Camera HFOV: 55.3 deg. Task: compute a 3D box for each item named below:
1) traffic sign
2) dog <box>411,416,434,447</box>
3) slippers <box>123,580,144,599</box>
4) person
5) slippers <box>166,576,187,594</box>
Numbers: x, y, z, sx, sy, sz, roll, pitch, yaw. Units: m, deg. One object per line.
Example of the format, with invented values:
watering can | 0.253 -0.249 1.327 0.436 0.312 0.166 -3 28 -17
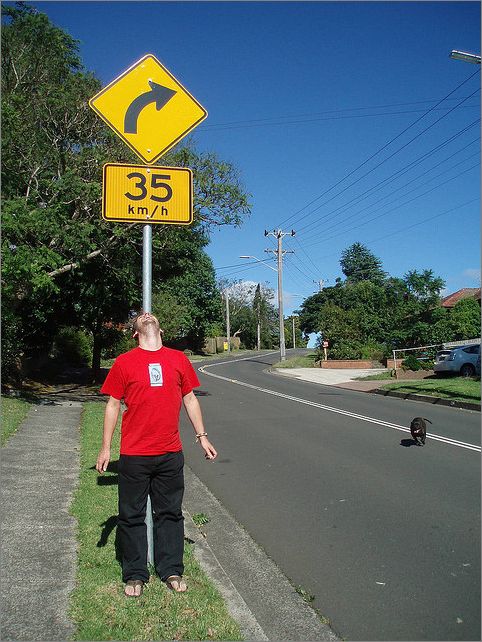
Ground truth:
traffic sign | -0.653 -0.903 3.252 0.619 0.422 0.031 0 -7 -9
dog | 3.261 1.992 8.349 0.214 0.506 0.619 -1 -1 27
slippers | -0.608 1.546 2.639 0.116 0.058 0.119 0 -1 -20
person | -0.528 0.803 2.834 0.677 1.712 0.413 0 -1 -17
slippers | -0.381 1.590 2.766 0.102 0.067 0.143 0 -1 -30
